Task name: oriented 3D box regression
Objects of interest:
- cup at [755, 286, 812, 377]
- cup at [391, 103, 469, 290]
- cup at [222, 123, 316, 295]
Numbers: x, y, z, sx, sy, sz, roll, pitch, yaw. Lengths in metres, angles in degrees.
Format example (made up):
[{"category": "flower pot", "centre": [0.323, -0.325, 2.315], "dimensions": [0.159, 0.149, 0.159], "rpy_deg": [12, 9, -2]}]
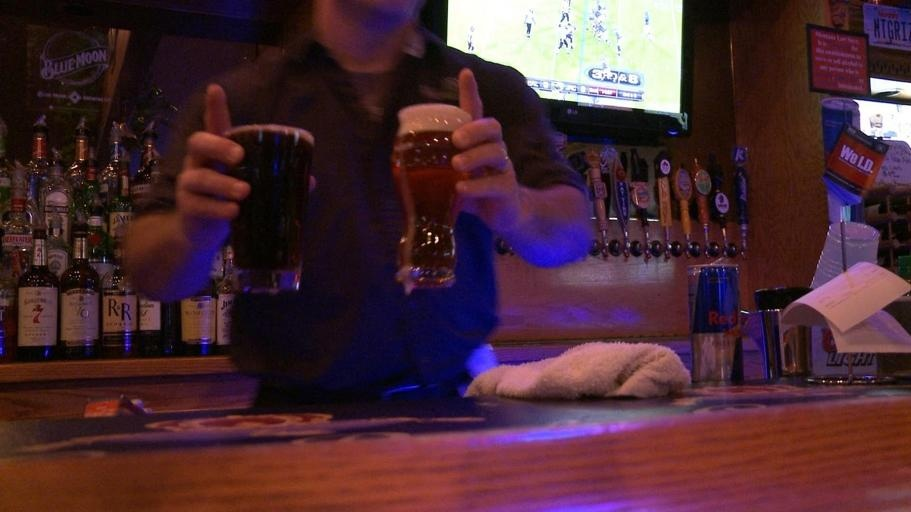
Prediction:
[{"category": "cup", "centre": [1.176, 0.271, 2.387], "dimensions": [0.176, 0.324, 0.215], "rpy_deg": [-1, -5, 24]}, {"category": "cup", "centre": [-0.077, -0.159, 1.832], "dimensions": [0.204, 0.499, 0.208], "rpy_deg": [1, -5, 0]}, {"category": "cup", "centre": [-0.520, -0.129, 1.833], "dimensions": [0.225, 0.447, 0.138], "rpy_deg": [2, -5, -17]}]
